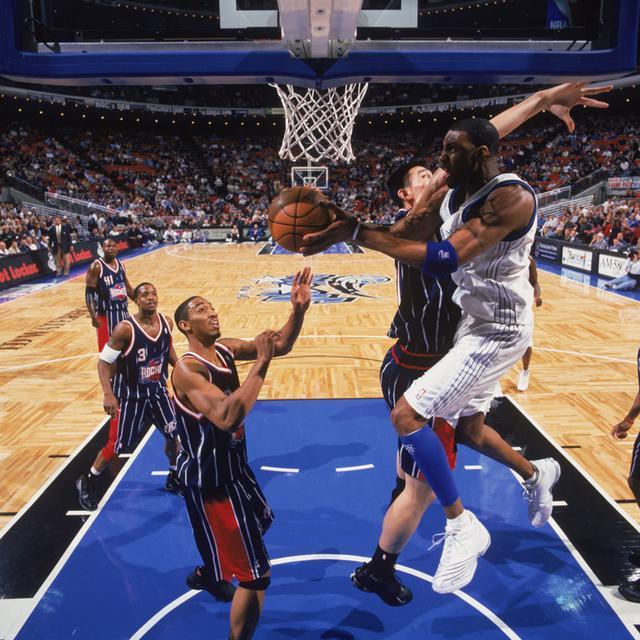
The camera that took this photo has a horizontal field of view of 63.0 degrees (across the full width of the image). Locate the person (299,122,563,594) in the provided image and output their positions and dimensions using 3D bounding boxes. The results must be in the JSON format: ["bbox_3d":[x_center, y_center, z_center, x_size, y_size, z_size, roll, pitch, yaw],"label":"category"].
[{"bbox_3d":[0.586,0.284,2.361,0.549,2.270,1.242,14,21,42],"label":"person"}]

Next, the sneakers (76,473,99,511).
[{"bbox_3d":[-1.510,1.121,3.432,0.111,0.115,0.291,5,25,-21],"label":"sneakers"}]

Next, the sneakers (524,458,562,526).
[{"bbox_3d":[1.208,0.923,2.918,0.219,0.407,0.156,-5,8,-19],"label":"sneakers"}]

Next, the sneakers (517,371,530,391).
[{"bbox_3d":[2.150,0.636,5.510,0.109,0.112,0.291,2,15,15],"label":"sneakers"}]

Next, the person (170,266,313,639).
[{"bbox_3d":[-0.367,0.648,2.218,0.448,1.443,0.695,-5,16,-15],"label":"person"}]

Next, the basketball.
[{"bbox_3d":[-0.069,-0.411,2.153,0.299,0.242,0.281,6,20,16],"label":"basketball"}]
